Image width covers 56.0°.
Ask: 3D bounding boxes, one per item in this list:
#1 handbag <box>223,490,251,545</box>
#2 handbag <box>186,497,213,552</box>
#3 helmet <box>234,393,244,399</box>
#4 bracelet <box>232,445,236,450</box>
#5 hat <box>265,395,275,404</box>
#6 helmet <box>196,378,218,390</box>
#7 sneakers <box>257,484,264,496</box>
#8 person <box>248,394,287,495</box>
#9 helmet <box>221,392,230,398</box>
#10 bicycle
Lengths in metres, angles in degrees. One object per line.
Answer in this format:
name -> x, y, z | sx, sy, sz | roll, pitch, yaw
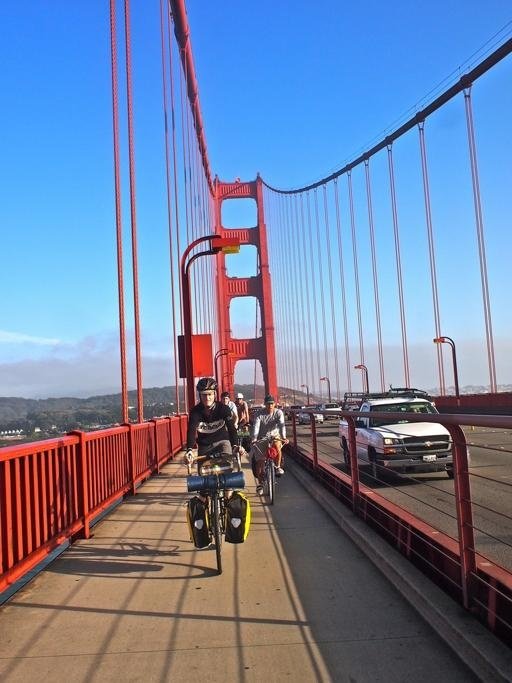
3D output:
handbag -> -0.172, 1.556, 4.260 | 0.219, 0.434, 0.147 | -1, -9, -7
handbag -> -0.477, 1.538, 4.094 | 0.209, 0.439, 0.094 | 0, -6, -33
helmet -> -0.783, 2.487, 22.822 | 0.402, 0.357, 0.637 | -1, -11, 1
bracelet -> -0.221, 1.088, 4.922 | 0.024, 0.048, 0.045 | 0, -9, 3
hat -> 0.233, 0.977, 8.051 | 0.125, 0.193, 0.189 | -1, -12, -1
helmet -> -0.489, 0.429, 4.761 | 0.147, 0.154, 0.302 | -3, -10, 4
sneakers -> 0.071, 2.358, 7.611 | 0.117, 0.191, 0.181 | 1, -8, 2
person -> 0.197, 1.648, 7.989 | 0.627, 0.957, 1.435 | 0, -17, -4
helmet -> -0.584, 1.019, 8.928 | 0.113, 0.134, 0.156 | 1, 7, 6
bicycle -> -0.226, 1.544, 4.838 | 0.847, 1.079, 1.604 | -3, -11, 0
